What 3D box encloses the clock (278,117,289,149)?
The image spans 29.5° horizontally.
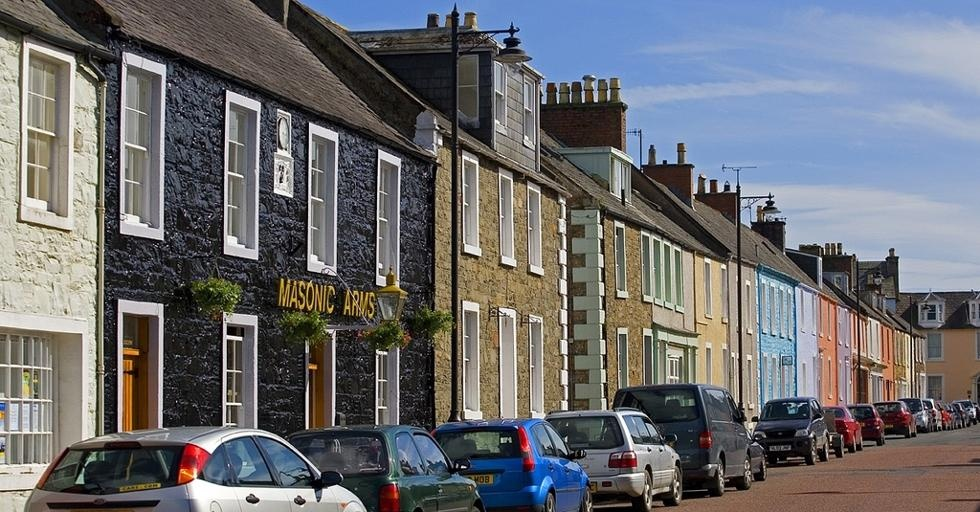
[{"bbox_3d":[-5.637,-3.355,51.349,0.194,0.827,0.434,-15,-15,37],"label":"clock"}]

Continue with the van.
[{"bbox_3d":[6.373,5.260,55.681,2.615,2.055,4.674,-2,-3,23],"label":"van"}]

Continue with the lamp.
[{"bbox_3d":[-2.990,1.251,52.453,2.162,2.328,1.192,-2,0,-10],"label":"lamp"}]

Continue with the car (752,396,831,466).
[{"bbox_3d":[10.464,6.025,64.423,2.101,2.491,2.393,-9,-12,16],"label":"car"}]
